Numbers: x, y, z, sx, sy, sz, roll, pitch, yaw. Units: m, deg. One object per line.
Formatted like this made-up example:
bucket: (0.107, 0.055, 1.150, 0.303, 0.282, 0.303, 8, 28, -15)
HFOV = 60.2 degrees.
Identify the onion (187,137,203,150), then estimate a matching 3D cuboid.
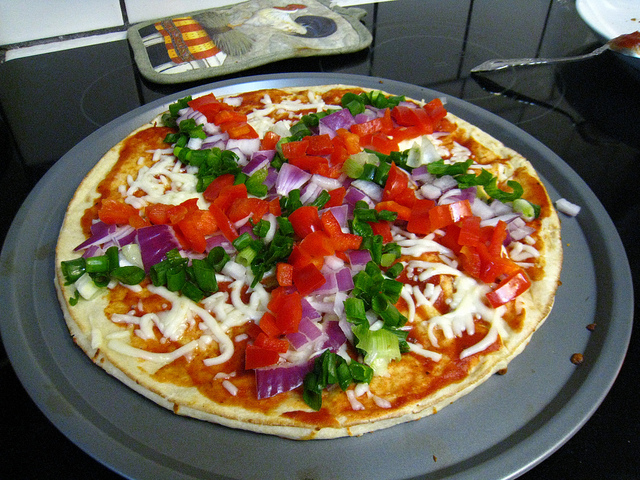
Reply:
onion: (-0.694, -0.539, 3.066, 0.077, 0.073, 0.064, -12, 69, -16)

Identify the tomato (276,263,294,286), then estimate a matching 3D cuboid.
tomato: (-0.159, 0.152, 2.451, 0.079, 0.039, 0.102, 6, 82, 2)

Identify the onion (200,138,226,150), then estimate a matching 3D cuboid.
onion: (-0.598, -0.531, 3.074, 0.108, 0.029, 0.066, -14, 56, -17)

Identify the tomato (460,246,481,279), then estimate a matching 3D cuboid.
tomato: (0.698, 0.104, 2.603, 0.106, 0.051, 0.136, -18, 70, -10)

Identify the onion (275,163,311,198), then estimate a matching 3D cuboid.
onion: (-0.131, -0.272, 2.837, 0.149, 0.154, 0.038, -19, 83, -2)

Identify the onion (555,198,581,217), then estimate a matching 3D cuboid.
onion: (1.294, -0.174, 2.886, 0.113, 0.044, 0.073, 38, 83, 24)

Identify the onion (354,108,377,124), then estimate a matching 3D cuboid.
onion: (0.274, -0.727, 3.223, 0.123, 0.055, 0.093, -33, 45, -29)

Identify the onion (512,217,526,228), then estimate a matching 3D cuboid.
onion: (0.999, -0.090, 2.765, 0.048, 0.012, 0.045, -40, 70, -19)

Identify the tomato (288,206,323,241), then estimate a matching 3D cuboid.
tomato: (-0.056, -0.087, 2.627, 0.132, 0.174, 0.148, 52, 124, 42)

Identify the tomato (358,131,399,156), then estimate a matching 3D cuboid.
tomato: (0.328, -0.537, 3.004, 0.172, 0.062, 0.166, 29, 41, 34)

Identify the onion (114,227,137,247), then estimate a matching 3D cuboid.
onion: (-0.925, -0.013, 2.627, 0.075, 0.048, 0.069, -24, 27, -8)

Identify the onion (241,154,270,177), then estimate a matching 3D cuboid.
onion: (-0.334, -0.395, 2.876, 0.086, 0.038, 0.138, 30, 67, 28)

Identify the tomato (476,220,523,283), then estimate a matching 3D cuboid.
tomato: (0.863, -0.005, 2.549, 0.226, 0.068, 0.239, 25, 45, -27)

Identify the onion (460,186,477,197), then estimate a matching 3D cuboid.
onion: (0.763, -0.253, 2.817, 0.060, 0.018, 0.051, 2, 45, 5)

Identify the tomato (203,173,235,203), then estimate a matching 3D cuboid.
tomato: (-0.511, -0.272, 2.900, 0.110, 0.060, 0.186, 32, 68, 23)

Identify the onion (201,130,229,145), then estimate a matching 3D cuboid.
onion: (-0.580, -0.579, 3.101, 0.189, 0.044, 0.049, -18, 52, 3)

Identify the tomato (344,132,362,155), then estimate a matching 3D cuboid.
tomato: (0.145, -0.522, 2.962, 0.133, 0.034, 0.112, -13, 85, -44)

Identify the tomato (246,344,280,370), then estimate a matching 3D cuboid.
tomato: (-0.243, 0.490, 2.304, 0.135, 0.071, 0.094, 1, 82, 1)

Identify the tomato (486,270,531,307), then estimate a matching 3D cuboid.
tomato: (0.842, 0.231, 2.513, 0.228, 0.063, 0.109, -32, 63, -7)

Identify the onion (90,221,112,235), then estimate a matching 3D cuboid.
onion: (-1.087, -0.062, 2.758, 0.073, 0.069, 0.066, -29, 63, 9)

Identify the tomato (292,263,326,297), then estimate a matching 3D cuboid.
tomato: (-0.057, 0.172, 2.431, 0.136, 0.055, 0.115, -33, 83, -4)

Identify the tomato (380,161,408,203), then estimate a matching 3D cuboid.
tomato: (0.374, -0.290, 2.744, 0.170, 0.064, 0.142, -44, 71, 20)

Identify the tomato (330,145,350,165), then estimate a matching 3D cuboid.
tomato: (0.098, -0.441, 2.860, 0.109, 0.104, 0.091, -4, 92, 45)

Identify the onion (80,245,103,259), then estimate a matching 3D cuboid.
onion: (-1.077, 0.053, 2.587, 0.071, 0.025, 0.067, 34, 55, 18)

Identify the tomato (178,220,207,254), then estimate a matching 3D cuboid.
tomato: (-0.570, -0.020, 2.586, 0.099, 0.166, 0.041, -19, 22, 35)

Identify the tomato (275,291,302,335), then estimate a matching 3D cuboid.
tomato: (-0.114, 0.311, 2.390, 0.116, 0.047, 0.173, 3, 56, 26)

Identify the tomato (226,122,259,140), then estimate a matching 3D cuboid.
tomato: (-0.443, -0.605, 3.072, 0.124, 0.043, 0.121, -25, 51, -22)

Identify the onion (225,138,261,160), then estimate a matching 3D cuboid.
onion: (-0.426, -0.525, 3.045, 0.165, 0.039, 0.112, -3, 76, 1)

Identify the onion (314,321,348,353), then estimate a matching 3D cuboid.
onion: (0.053, 0.421, 2.388, 0.134, 0.034, 0.115, 3, 64, -5)

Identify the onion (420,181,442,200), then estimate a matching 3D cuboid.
onion: (0.564, -0.254, 2.803, 0.086, 0.045, 0.092, -38, 62, -17)
